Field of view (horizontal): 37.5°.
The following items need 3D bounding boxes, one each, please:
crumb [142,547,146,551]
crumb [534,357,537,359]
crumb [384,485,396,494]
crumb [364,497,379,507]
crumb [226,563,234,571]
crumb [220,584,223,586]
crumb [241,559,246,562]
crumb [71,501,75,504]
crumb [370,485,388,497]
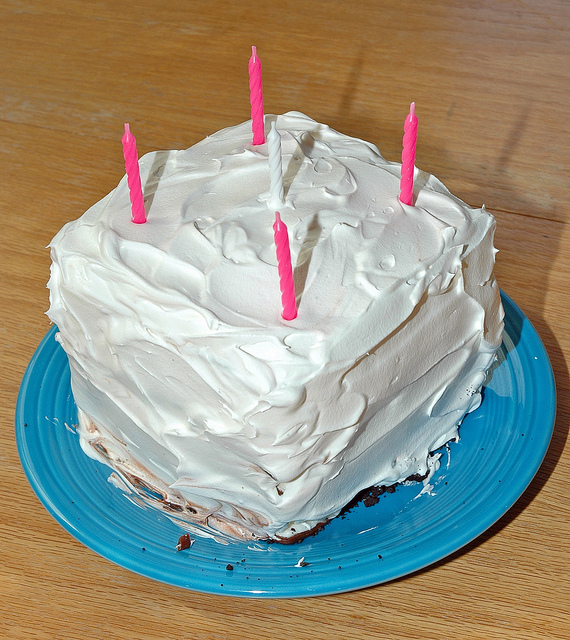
[{"bbox_3d":[-0.268,0.430,1.579,0.006,0.002,0.004,26,72,9],"label":"crumb"},{"bbox_3d":[0.541,0.083,1.814,0.006,0.001,0.004,0,37,7],"label":"crumb"},{"bbox_3d":[0.209,0.341,1.686,0.028,0.005,0.016,0,73,7],"label":"crumb"},{"bbox_3d":[0.171,0.362,1.669,0.028,0.004,0.018,4,40,2],"label":"crumb"},{"bbox_3d":[-0.103,0.453,1.537,0.015,0.010,0.011,6,72,2],"label":"crumb"},{"bbox_3d":[-0.116,0.478,1.512,0.005,0.002,0.004,0,58,-3],"label":"crumb"},{"bbox_3d":[-0.079,0.446,1.553,0.005,0.007,0.001,-1,86,1],"label":"crumb"},{"bbox_3d":[-0.424,0.363,1.666,0.004,0.003,0.001,2,94,2],"label":"crumb"},{"bbox_3d":[0.191,0.342,1.675,0.037,0.008,0.022,3,69,-14],"label":"crumb"}]
